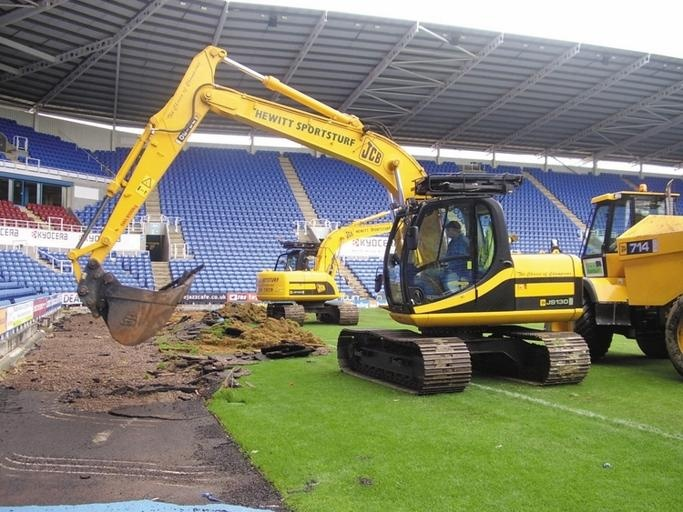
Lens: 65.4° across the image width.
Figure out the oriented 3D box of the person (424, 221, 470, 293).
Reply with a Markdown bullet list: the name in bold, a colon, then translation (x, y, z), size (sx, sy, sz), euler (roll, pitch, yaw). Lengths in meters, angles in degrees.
- **person**: translation (1.660, -0.015, 7.964), size (0.546, 1.058, 0.193), euler (0, 3, 5)

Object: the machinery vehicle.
- **machinery vehicle**: translation (2.594, -0.167, 11.382), size (14.425, 6.064, 4.630), euler (1, -2, -19)

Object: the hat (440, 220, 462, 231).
- **hat**: translation (1.679, -0.467, 8.080), size (0.276, 0.114, 0.152), euler (10, -6, 9)
